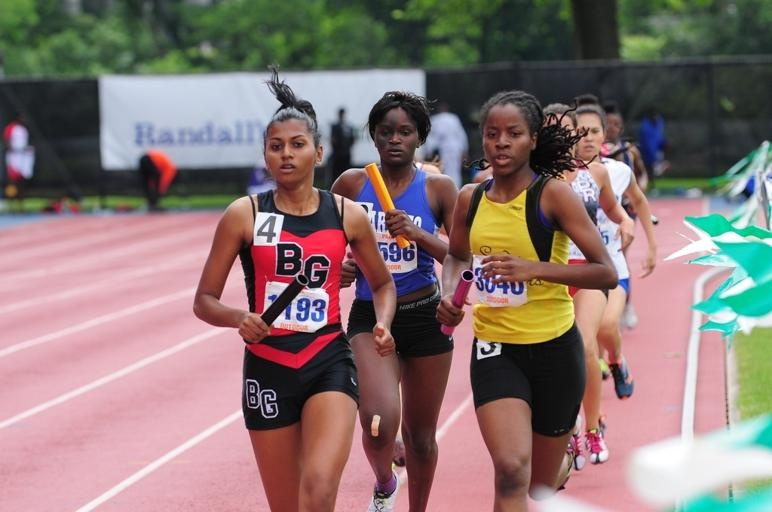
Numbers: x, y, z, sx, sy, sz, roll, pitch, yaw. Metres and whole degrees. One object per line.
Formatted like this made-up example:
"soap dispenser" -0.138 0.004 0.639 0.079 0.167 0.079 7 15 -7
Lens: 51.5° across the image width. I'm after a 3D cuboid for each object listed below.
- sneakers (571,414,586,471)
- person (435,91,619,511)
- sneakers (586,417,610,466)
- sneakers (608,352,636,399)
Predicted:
"sneakers" 1.461 1.444 6.181 0.122 0.198 0.451 -9 29 18
"person" 0.787 0.354 4.555 0.947 2.499 1.067 -1 13 2
"sneakers" 1.618 1.373 6.182 0.137 0.191 0.422 -11 52 13
"sneakers" 1.952 0.970 6.638 0.207 0.208 0.575 -5 14 7
